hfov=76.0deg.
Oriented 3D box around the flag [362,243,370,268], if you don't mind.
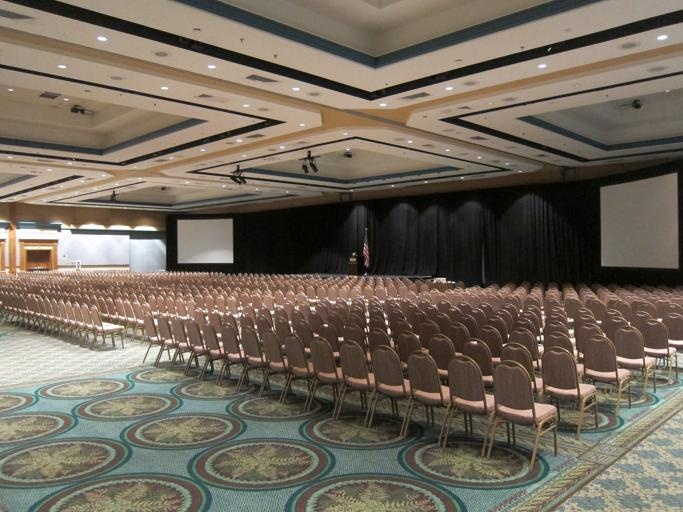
[{"bbox_3d":[1.388,-0.054,24.212,0.370,1.412,0.895,-3,5,3],"label":"flag"}]
